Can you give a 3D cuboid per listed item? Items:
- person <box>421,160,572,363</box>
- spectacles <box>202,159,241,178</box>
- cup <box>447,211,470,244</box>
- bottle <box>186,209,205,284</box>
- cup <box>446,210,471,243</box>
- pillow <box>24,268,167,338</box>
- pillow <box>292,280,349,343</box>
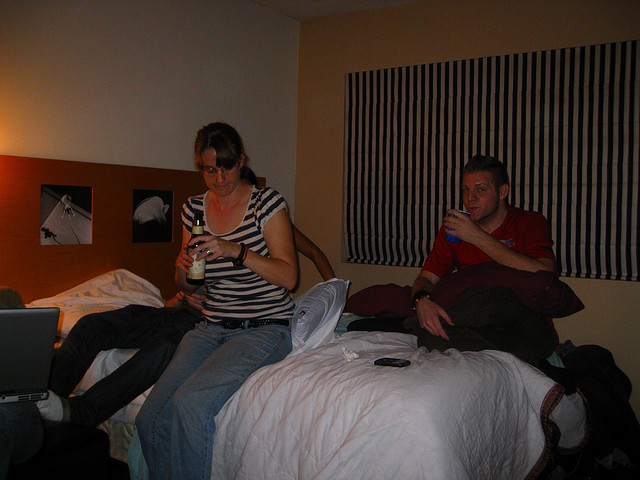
[{"bbox_3d":[0.914,0.104,2.659,0.719,1.109,0.733,-3,6,43],"label":"person"},{"bbox_3d":[-0.453,-0.332,2.202,0.173,0.083,0.084,-2,6,-14],"label":"spectacles"},{"bbox_3d":[0.702,-0.062,2.524,0.106,0.151,0.148,7,10,37],"label":"cup"},{"bbox_3d":[-0.567,0.035,2.158,0.080,0.327,0.200,-2,6,-17],"label":"bottle"},{"bbox_3d":[0.740,-0.075,2.552,0.123,0.143,0.092,19,-2,-43],"label":"cup"},{"bbox_3d":[-1.301,0.340,2.816,0.556,0.198,0.387,-4,6,11],"label":"pillow"},{"bbox_3d":[0.007,0.345,2.417,0.119,0.151,0.439,14,33,15],"label":"pillow"}]
